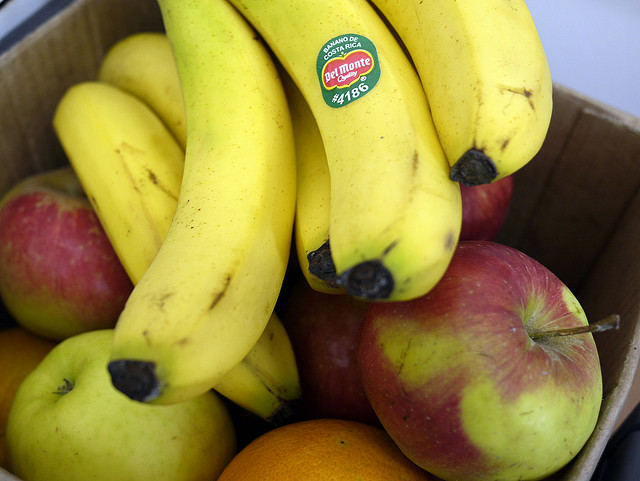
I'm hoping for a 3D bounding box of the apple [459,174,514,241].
[{"bbox_3d":[0.296,-0.055,1.169,0.109,0.152,0.119,3,15,24],"label":"apple"}]

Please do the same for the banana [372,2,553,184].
[{"bbox_3d":[0.219,-0.255,0.968,0.170,0.114,0.343,-22,83,10],"label":"banana"}]

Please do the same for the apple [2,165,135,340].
[{"bbox_3d":[-0.441,-0.005,1.293,0.269,0.373,0.299,2,5,7],"label":"apple"}]

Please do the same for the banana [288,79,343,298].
[{"bbox_3d":[-0.015,-0.088,1.045,0.072,0.101,0.345,-3,77,-1],"label":"banana"}]
